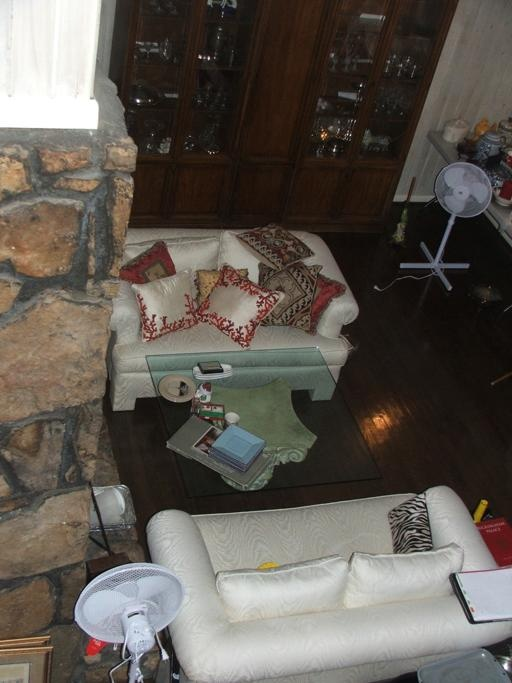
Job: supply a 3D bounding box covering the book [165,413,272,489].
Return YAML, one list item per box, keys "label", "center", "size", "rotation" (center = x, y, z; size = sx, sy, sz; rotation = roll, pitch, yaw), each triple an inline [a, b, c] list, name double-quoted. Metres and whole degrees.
- label: "book"
  center: [-0.262, 0.668, 3.007]
  size: [0.559, 0.110, 0.317]
  rotation: [26, 52, 13]

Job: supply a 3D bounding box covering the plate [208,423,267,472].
- label: "plate"
  center: [-0.113, 0.643, 3.019]
  size: [0.265, 0.076, 0.250]
  rotation: [28, 38, 16]

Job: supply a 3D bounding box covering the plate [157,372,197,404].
- label: "plate"
  center: [-0.536, 0.317, 3.365]
  size: [0.246, 0.063, 0.230]
  rotation: [6, 37, -12]

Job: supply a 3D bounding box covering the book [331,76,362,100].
- label: "book"
  center: [0.929, -2.565, 5.171]
  size: [0.343, 0.222, 0.184]
  rotation: [-2, 59, -8]

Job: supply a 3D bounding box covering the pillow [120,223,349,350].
- label: "pillow"
  center: [-0.175, -0.192, 4.758]
  size: [2.043, 0.651, 0.868]
  rotation: [-3, 64, -8]
